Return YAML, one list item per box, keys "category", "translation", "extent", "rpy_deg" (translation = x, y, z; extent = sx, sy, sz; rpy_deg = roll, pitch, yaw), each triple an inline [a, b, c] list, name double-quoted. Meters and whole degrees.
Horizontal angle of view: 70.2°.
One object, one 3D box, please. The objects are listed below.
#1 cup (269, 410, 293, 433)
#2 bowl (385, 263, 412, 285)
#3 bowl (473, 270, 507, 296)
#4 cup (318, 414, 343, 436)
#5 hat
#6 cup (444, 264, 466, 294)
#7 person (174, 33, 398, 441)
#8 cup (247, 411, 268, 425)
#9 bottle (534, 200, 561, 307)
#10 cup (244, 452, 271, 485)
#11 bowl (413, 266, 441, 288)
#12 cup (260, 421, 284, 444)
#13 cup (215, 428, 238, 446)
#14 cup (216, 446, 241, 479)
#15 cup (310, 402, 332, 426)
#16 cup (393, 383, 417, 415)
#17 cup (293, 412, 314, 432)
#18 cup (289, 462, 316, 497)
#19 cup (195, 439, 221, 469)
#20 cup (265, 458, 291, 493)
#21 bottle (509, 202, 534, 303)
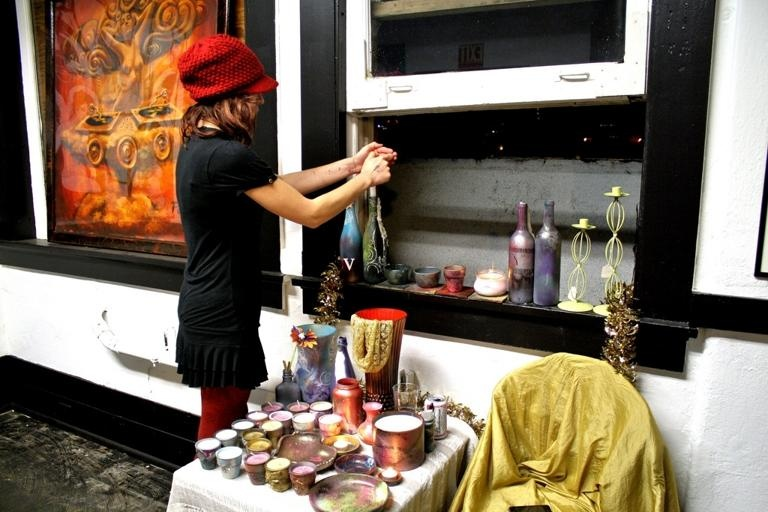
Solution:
- category: "cup"
  translation: [-0.434, 0.676, 2.298]
  extent: [0.087, 0.061, 0.085]
  rpy_deg: [0, 0, 0]
- category: "bowl"
  translation: [0.070, 0.077, 2.626]
  extent: [0.110, 0.068, 0.089]
  rpy_deg: [3, 6, 21]
- category: "bowl"
  translation: [0.477, 0.114, 2.470]
  extent: [0.120, 0.070, 0.119]
  rpy_deg: [1, 0, 0]
- category: "cup"
  translation: [-0.222, 0.688, 2.259]
  extent: [0.070, 0.059, 0.086]
  rpy_deg: [-1, -5, 6]
- category: "hat"
  translation: [-0.627, -0.757, 2.244]
  extent: [0.352, 0.175, 0.259]
  rpy_deg: [-7, 33, -12]
- category: "cup"
  translation: [0.327, 0.098, 2.596]
  extent: [0.117, 0.126, 0.120]
  rpy_deg: [-1, 6, 0]
- category: "person"
  translation: [-0.519, -0.162, 2.283]
  extent: [0.693, 1.439, 0.250]
  rpy_deg: [3, 4, -10]
- category: "cup"
  translation: [-0.533, 0.671, 2.328]
  extent: [0.056, 0.036, 0.055]
  rpy_deg: [3, 4, 0]
- category: "bottle"
  translation: [0.707, -0.016, 2.354]
  extent: [0.125, 0.448, 0.092]
  rpy_deg: [5, 4, 11]
- category: "cup"
  translation: [-0.482, 0.792, 2.070]
  extent: [0.098, 0.078, 0.101]
  rpy_deg: [1, -2, 0]
- category: "bowl"
  translation: [0.206, 0.090, 2.621]
  extent: [0.107, 0.058, 0.095]
  rpy_deg: [5, -1, -19]
- category: "cup"
  translation: [-0.452, 0.710, 2.260]
  extent: [0.082, 0.084, 0.082]
  rpy_deg: [-1, 1, 0]
- category: "cup"
  translation: [-0.642, 0.722, 2.235]
  extent: [0.063, 0.044, 0.061]
  rpy_deg: [1, 2, 0]
- category: "cup"
  translation: [-0.591, 0.780, 2.123]
  extent: [0.100, 0.074, 0.099]
  rpy_deg: [-2, 1, 0]
- category: "cup"
  translation: [-0.275, 0.664, 2.364]
  extent: [0.090, 0.062, 0.087]
  rpy_deg: [1, 3, 0]
- category: "cup"
  translation: [0.089, 0.586, 2.284]
  extent: [0.110, 0.116, 0.111]
  rpy_deg: [0, -3, 0]
- category: "cup"
  translation: [-0.338, 0.680, 2.291]
  extent: [0.074, 0.050, 0.074]
  rpy_deg: [0, -1, 0]
- category: "cup"
  translation: [-0.305, 0.823, 2.058]
  extent: [0.101, 0.099, 0.101]
  rpy_deg: [4, 4, 0]
- category: "cup"
  translation: [-0.687, 0.760, 2.141]
  extent: [0.102, 0.107, 0.102]
  rpy_deg: [-1, -1, 0]
- category: "cup"
  translation: [-0.393, 0.807, 2.064]
  extent: [0.096, 0.092, 0.108]
  rpy_deg: [-1, -3, 33]
- category: "bottle"
  translation: [0.602, -0.016, 2.380]
  extent: [0.116, 0.435, 0.067]
  rpy_deg: [5, 5, 15]
